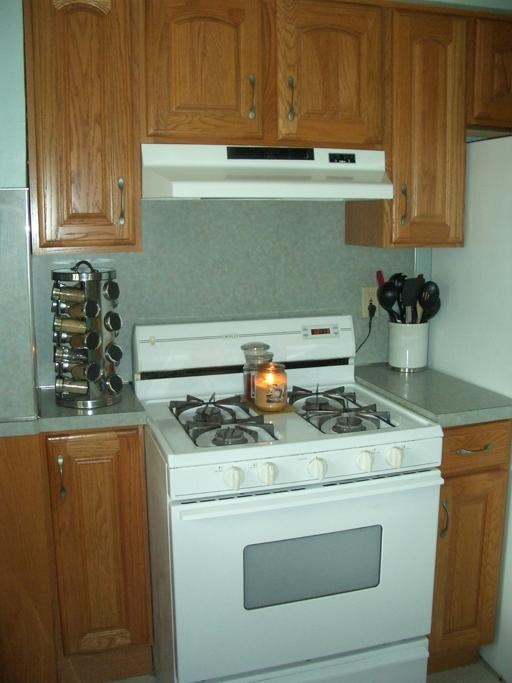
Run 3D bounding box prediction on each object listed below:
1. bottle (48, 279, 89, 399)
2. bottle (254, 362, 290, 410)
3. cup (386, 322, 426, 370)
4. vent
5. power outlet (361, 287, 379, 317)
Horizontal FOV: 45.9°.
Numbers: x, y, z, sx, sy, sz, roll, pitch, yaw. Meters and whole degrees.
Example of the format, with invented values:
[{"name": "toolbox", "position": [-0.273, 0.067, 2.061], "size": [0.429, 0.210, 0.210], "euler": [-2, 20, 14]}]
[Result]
[{"name": "bottle", "position": [-0.531, -0.003, 1.706], "size": [0.135, 0.317, 0.084], "euler": [10, 17, 36]}, {"name": "bottle", "position": [0.048, 0.135, 1.837], "size": [0.122, 0.172, 0.122], "euler": [0, 7, 0]}, {"name": "cup", "position": [0.545, 0.012, 2.156], "size": [0.157, 0.174, 0.157], "euler": [0, 5, 0]}, {"name": "vent", "position": [0.054, -0.478, 1.710], "size": [0.740, 0.142, 0.133], "euler": [-5, 15, -19]}, {"name": "power outlet", "position": [0.432, -0.147, 2.292], "size": [0.074, 0.118, 0.020], "euler": [-7, 16, -28]}]
